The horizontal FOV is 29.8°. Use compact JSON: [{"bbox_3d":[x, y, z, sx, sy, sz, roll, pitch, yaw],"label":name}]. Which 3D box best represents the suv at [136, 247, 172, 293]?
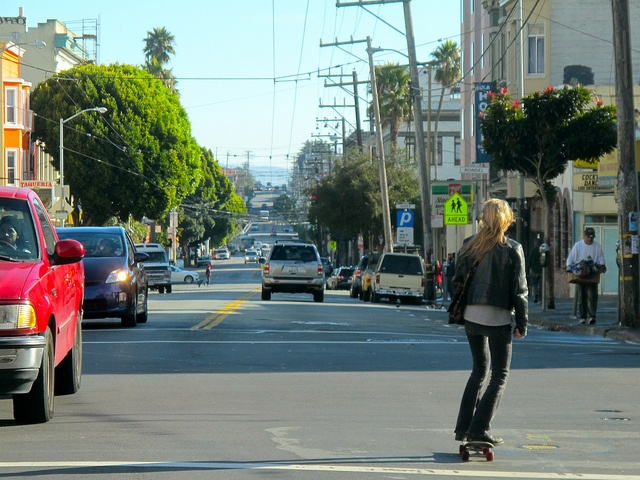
[{"bbox_3d":[-7.251,1.214,50.919,1.763,2.256,3.489,-1,-4,-18],"label":"suv"}]

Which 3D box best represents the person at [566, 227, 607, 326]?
[{"bbox_3d":[6.289,0.864,28.467,0.810,2.289,0.766,3,6,42],"label":"person"}]

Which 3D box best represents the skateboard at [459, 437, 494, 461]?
[{"bbox_3d":[1.933,2.614,14.997,0.412,0.240,0.205,-1,1,7],"label":"skateboard"}]

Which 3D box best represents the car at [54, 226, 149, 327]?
[{"bbox_3d":[-5.066,0.722,27.133,2.258,2.224,4.284,-1,0,-7],"label":"car"}]

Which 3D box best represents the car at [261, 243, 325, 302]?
[{"bbox_3d":[-0.991,0.985,38.651,1.638,1.940,2.615,1,-1,-9],"label":"car"}]

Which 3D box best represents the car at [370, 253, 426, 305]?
[{"bbox_3d":[2.625,1.298,40.850,1.445,1.743,2.149,0,-1,-5],"label":"car"}]
